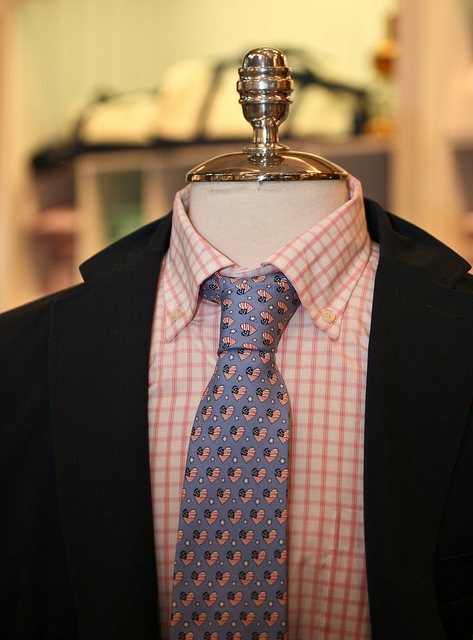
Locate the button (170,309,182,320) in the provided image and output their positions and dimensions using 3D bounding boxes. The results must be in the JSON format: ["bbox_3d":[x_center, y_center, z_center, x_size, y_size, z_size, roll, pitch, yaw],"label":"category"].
[{"bbox_3d":[-0.074,-0.007,0.811,0.012,0.004,0.013,7,50,21],"label":"button"}]

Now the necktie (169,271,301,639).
[{"bbox_3d":[0.000,0.130,0.725,0.117,0.325,0.247,1,22,6],"label":"necktie"}]
